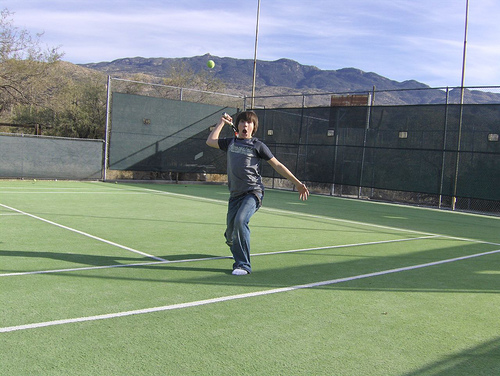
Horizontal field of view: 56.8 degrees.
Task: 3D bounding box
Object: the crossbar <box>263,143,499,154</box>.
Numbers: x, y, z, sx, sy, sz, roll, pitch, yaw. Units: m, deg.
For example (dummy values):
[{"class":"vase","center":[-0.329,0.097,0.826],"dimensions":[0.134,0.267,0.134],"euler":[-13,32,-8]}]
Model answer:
[{"class":"crossbar","center":[4.773,-1.549,17.412],"dimensions":[0.208,0.177,8.486],"euler":[0,5,-44]}]
